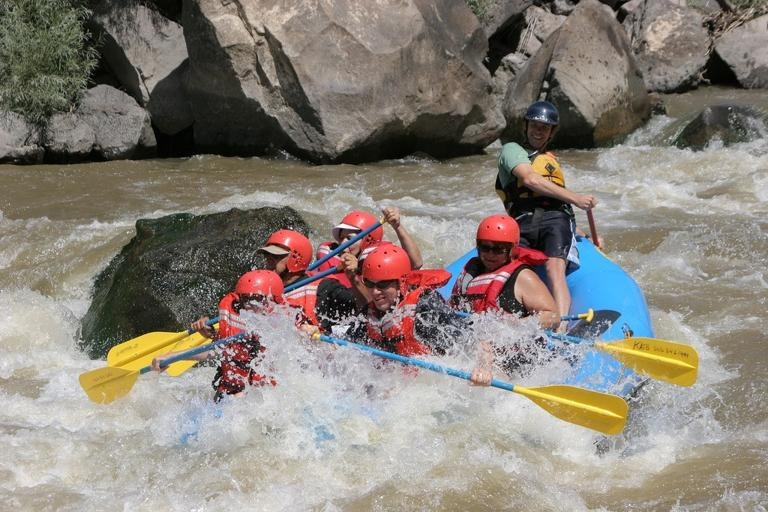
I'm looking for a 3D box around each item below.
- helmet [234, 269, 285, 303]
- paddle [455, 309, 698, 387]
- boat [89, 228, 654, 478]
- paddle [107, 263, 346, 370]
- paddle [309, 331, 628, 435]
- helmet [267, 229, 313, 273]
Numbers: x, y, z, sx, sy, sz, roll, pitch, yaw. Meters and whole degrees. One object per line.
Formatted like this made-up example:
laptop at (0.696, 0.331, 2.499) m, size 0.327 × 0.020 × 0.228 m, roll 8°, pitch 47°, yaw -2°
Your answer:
helmet at (-1.423, 0.382, 11.923) m, size 0.389 × 0.400 × 0.509 m, roll 19°, pitch 16°, yaw 37°
paddle at (2.278, 1.002, 11.485) m, size 2.266 × 0.413 × 0.161 m, roll 14°, pitch 17°, yaw 6°
boat at (0.151, 0.707, 11.666) m, size 4.727 × 0.878 × 2.847 m, roll -11°, pitch 39°, yaw 3°
paddle at (-1.782, 0.747, 12.227) m, size 1.970 × 0.148 × 0.524 m, roll -26°, pitch 48°, yaw -6°
paddle at (0.964, 1.447, 11.620) m, size 3.404 × 0.161 × 0.500 m, roll 14°, pitch 70°, yaw 11°
helmet at (-1.138, -0.111, 12.470) m, size 0.577 × 0.450 × 0.555 m, roll -2°, pitch 12°, yaw -27°
